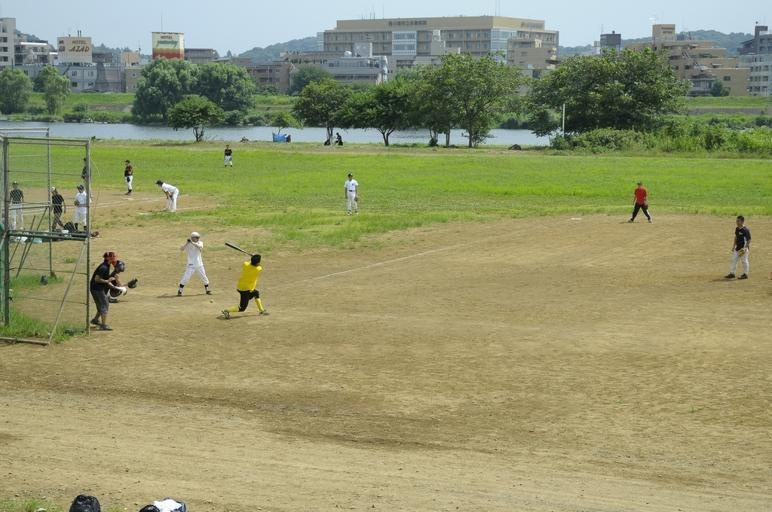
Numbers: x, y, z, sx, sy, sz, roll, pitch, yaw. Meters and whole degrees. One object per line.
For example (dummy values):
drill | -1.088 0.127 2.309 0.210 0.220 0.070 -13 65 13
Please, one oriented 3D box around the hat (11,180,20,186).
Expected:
hat | -19.176 -3.761 73.846 0.203 0.217 0.214 6 -2 -4

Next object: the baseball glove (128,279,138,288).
baseball glove | -13.296 1.463 74.607 0.449 0.290 0.606 -29 13 -31

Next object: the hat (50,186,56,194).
hat | -17.944 -3.586 76.985 0.431 0.398 0.501 0 -9 -11

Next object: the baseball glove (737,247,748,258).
baseball glove | 19.211 -0.214 77.309 0.403 0.225 0.516 13 -14 4

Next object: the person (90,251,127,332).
person | -14.275 1.748 72.431 1.260 3.830 1.348 0 5 1
